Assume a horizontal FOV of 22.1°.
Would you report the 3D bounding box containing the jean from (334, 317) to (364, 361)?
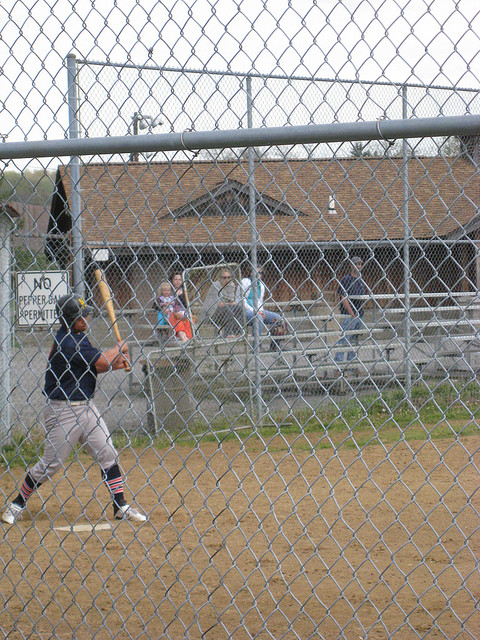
[{"bbox_3d":[1.112,0.163,11.739,0.171,0.160,0.610,10,31,2],"label":"jean"}]
